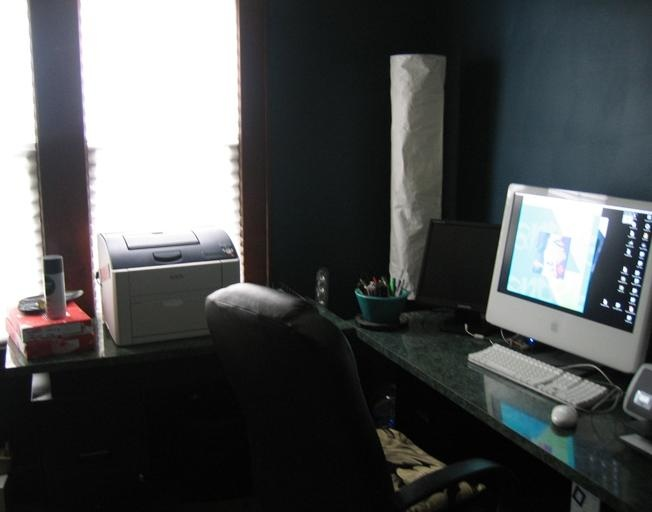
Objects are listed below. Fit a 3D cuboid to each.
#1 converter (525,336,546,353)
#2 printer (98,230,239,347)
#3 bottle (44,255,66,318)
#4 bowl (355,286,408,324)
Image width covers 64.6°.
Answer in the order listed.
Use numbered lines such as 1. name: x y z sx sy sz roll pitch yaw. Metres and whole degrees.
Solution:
1. converter: 0.813 0.351 2.003 0.056 0.014 0.055 5 55 1
2. printer: -0.749 0.100 2.359 0.575 0.425 0.554 -3 11 -23
3. bottle: -1.086 0.127 2.058 0.087 0.235 0.110 -11 18 -30
4. bowl: 0.245 0.222 2.260 0.252 0.133 0.249 0 4 0
